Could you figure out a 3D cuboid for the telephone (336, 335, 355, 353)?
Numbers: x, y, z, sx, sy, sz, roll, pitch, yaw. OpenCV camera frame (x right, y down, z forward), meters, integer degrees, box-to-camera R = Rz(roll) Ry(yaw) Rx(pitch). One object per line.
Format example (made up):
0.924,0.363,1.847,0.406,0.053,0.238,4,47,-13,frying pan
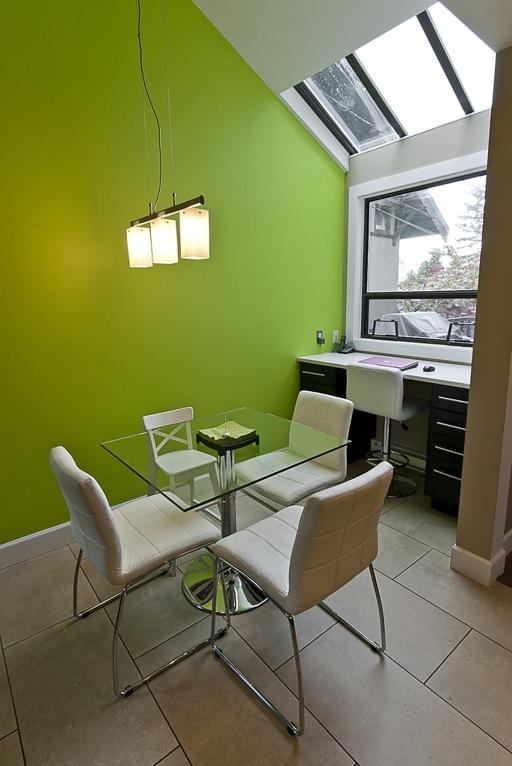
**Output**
0.709,-0.307,3.870,0.125,0.118,0.185,-6,12,-20,telephone

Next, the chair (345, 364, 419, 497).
0.821,0.260,3.061,0.435,0.893,0.384,-14,20,-32,chair

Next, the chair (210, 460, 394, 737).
0.142,0.595,1.630,0.448,0.892,0.470,-12,25,-36,chair

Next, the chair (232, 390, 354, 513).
0.181,0.277,2.238,0.333,0.430,0.464,16,14,39,chair

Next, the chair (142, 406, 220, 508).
-0.312,0.378,2.072,0.268,0.519,0.321,-6,7,-18,chair

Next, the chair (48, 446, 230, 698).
-0.458,0.583,1.791,0.456,0.782,0.530,9,15,43,chair

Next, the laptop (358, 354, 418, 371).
0.904,-0.137,3.231,0.210,0.053,0.204,8,17,36,laptop
